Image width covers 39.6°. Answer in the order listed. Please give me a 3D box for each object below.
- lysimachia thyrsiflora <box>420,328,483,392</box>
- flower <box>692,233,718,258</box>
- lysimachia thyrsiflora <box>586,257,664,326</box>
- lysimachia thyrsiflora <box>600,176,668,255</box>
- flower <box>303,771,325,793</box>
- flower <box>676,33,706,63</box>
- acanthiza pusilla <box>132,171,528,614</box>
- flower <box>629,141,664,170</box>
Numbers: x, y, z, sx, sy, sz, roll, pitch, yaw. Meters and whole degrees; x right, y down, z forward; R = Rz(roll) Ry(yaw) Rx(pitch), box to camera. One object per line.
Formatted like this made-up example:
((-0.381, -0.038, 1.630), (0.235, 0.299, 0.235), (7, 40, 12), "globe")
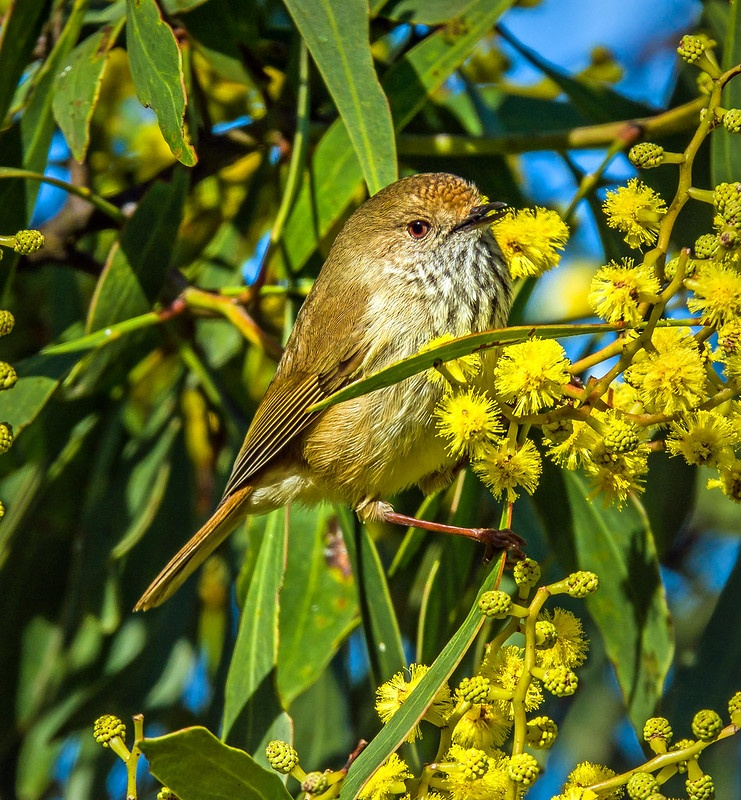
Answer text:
((0.166, -0.070, 2.113), (0.113, 0.049, 0.131), (-1, 96, 16), "lysimachia thyrsiflora")
((0.676, -0.310, 2.052), (0.045, 0.051, 0.075), (-1, 59, 17), "flower")
((0.503, -0.215, 2.009), (0.117, 0.072, 0.133), (-9, 70, 37), "lysimachia thyrsiflora")
((0.551, -0.378, 2.137), (0.095, 0.115, 0.172), (-1, 103, -3), "lysimachia thyrsiflora")
((-0.103, 0.711, 1.913), (0.033, 0.043, 0.037), (2, 88, 0), "flower")
((0.653, -0.715, 2.081), (0.046, 0.038, 0.075), (9, 25, 2), "flower")
((-0.136, -0.025, 3.422), (1.247, 0.643, 1.440), (4, 99, 27), "acanthiza pusilla")
((0.544, -0.472, 2.028), (0.064, 0.058, 0.043), (-8, 26, 29), "flower")
